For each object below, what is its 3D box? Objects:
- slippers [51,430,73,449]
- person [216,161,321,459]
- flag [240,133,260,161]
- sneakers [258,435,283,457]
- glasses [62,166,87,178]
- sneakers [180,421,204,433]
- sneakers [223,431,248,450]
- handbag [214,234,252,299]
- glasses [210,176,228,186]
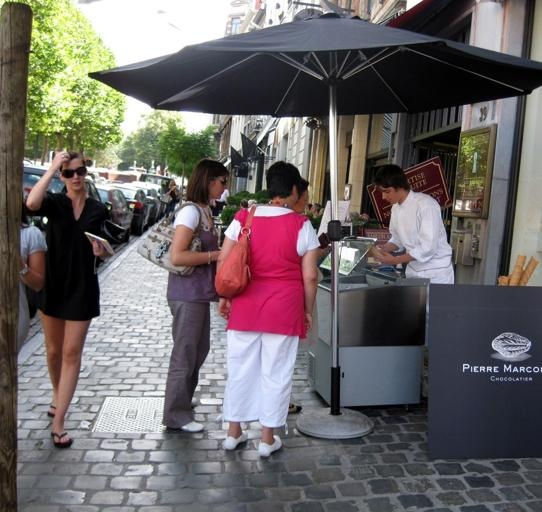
[{"bbox_3d":[-1.458,1.240,3.011,0.139,0.091,0.224,2,2,-24],"label":"slippers"},{"bbox_3d":[-0.031,0.356,3.055,0.698,1.504,0.406,2,1,-5],"label":"person"},{"bbox_3d":[-1.202,-5.905,23.585,0.979,1.361,0.445,1,32,20],"label":"flag"},{"bbox_3d":[-0.007,1.327,3.071,0.074,0.082,0.202,1,7,19],"label":"sneakers"},{"bbox_3d":[-1.380,-0.579,3.032,0.150,0.096,0.095,2,2,-26],"label":"glasses"},{"bbox_3d":[-0.609,1.298,3.342,0.137,0.054,0.078,-1,0,16],"label":"sneakers"},{"bbox_3d":[-0.264,1.314,3.138,0.070,0.076,0.193,1,6,21],"label":"sneakers"},{"bbox_3d":[-0.245,0.076,2.878,0.209,0.412,0.413,14,-6,-6],"label":"handbag"},{"bbox_3d":[-0.417,-0.576,3.408,0.090,0.029,0.089,-1,1,-42],"label":"glasses"}]
